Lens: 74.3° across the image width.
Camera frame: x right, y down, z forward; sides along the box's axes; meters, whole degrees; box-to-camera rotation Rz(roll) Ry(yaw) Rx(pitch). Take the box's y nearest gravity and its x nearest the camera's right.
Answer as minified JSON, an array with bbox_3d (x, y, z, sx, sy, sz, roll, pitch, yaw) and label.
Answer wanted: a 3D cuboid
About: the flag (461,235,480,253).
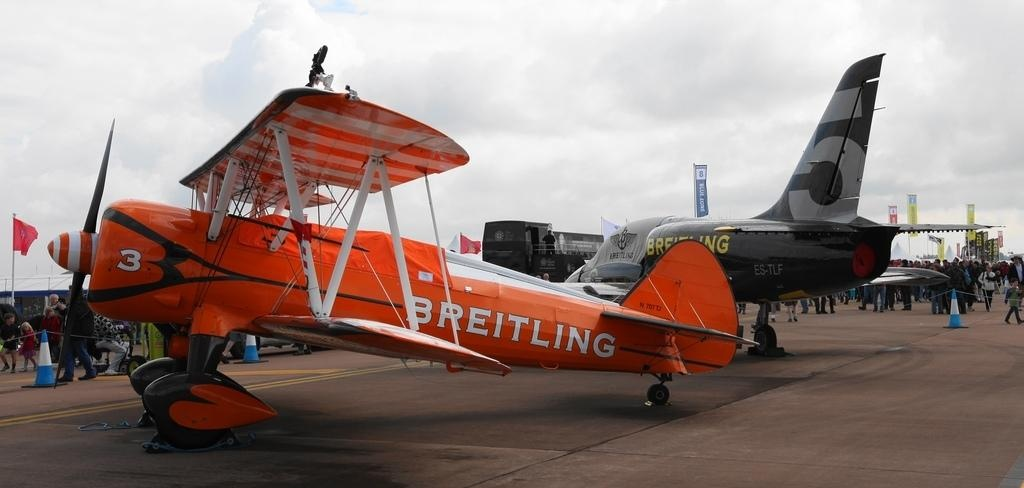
[{"bbox_3d":[-2.467,0.148,39.449,1.637,1.091,0.240,2,-12,-5],"label":"flag"}]

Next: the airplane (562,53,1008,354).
[{"bbox_3d":[6.208,-0.324,23.868,12.824,5.280,13.774,-1,1,42],"label":"airplane"}]

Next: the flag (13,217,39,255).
[{"bbox_3d":[-23.512,-0.302,32.621,0.892,1.749,1.101,-6,9,-23],"label":"flag"}]
